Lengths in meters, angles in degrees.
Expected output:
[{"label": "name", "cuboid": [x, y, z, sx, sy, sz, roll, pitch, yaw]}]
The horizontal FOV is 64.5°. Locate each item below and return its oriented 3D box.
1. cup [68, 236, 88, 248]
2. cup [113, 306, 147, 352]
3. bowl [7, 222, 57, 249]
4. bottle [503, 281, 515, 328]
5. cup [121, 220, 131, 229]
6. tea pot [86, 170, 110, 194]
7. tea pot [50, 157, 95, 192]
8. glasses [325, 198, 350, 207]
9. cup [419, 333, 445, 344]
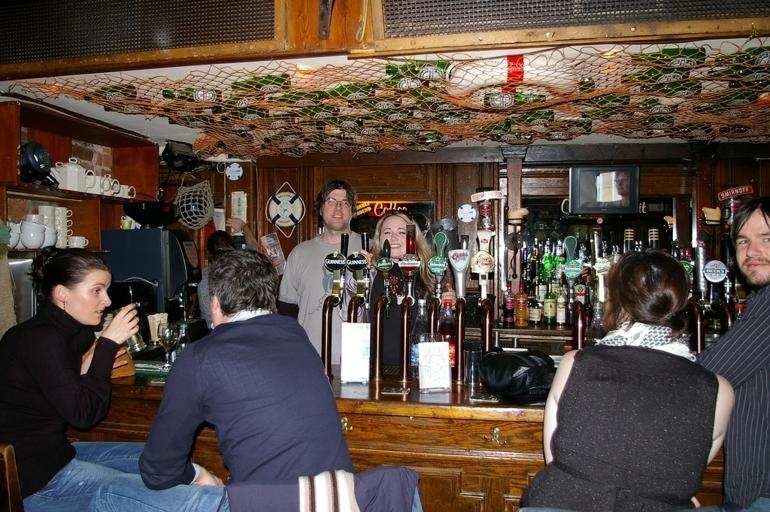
[{"label": "cup", "cuboid": [-2.297, -0.098, 4.594, 0.138, 0.086, 0.103, 1, -5, -8]}, {"label": "cup", "cuboid": [-1.585, 0.463, 3.853, 0.170, 0.318, 0.154, -14, -3, 25]}, {"label": "bowl", "cuboid": [-2.369, -0.128, 4.151, 0.241, 0.159, 0.305, -2, -4, 32]}, {"label": "bottle", "cuboid": [1.033, 0.447, 5.101, 0.089, 0.315, 0.225, 1, 0, 11]}, {"label": "cup", "cuboid": [-2.181, -0.265, 5.129, 0.081, 0.069, 0.133, 4, -4, -8]}, {"label": "tea pot", "cuboid": [-2.203, -0.543, 4.581, 0.238, 0.146, 0.130, 0, 3, -11]}, {"label": "tea pot", "cuboid": [-2.271, -0.592, 4.452, 0.328, 0.210, 0.218, 4, 1, -8]}, {"label": "glasses", "cuboid": [-0.301, -0.346, 3.925, 0.156, 0.042, 0.036, 1, 0, -10]}, {"label": "cup", "cuboid": [0.233, 0.422, 3.098, 0.069, 0.061, 0.069, 1, -2, 0]}]
